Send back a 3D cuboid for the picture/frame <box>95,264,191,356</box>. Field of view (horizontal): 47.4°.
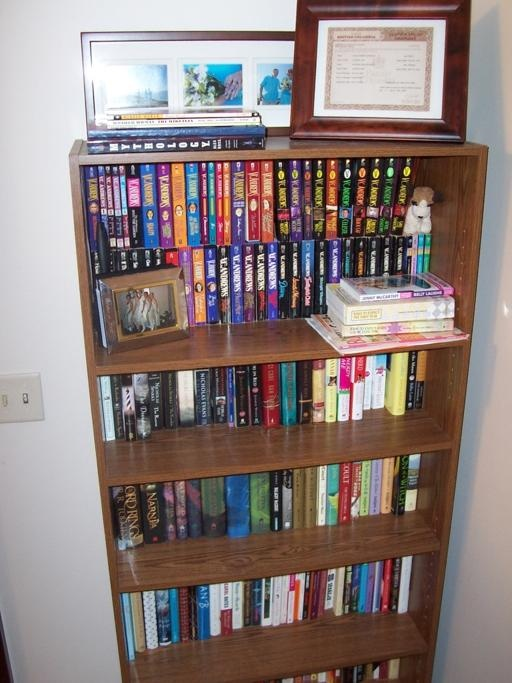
[{"bbox_3d":[-0.217,-0.060,1.096,0.155,0.128,0.025,-13,17,-20],"label":"picture/frame"}]
